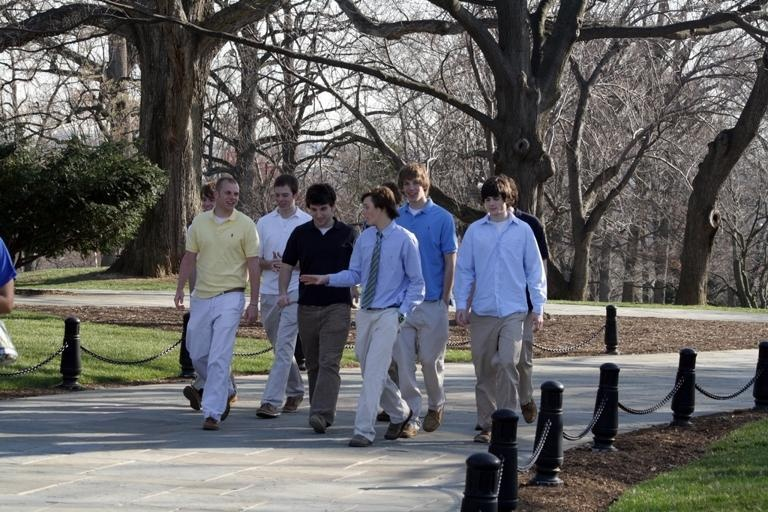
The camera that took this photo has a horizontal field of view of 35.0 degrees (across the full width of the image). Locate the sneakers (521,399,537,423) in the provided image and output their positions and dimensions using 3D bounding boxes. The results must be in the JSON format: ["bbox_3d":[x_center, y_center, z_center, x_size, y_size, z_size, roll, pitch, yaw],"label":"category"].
[{"bbox_3d":[2.752,2.918,23.002,0.229,0.553,0.192,-10,10,-39],"label":"sneakers"}]

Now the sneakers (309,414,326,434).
[{"bbox_3d":[-1.178,3.058,22.267,0.190,0.193,0.435,0,-40,19],"label":"sneakers"}]

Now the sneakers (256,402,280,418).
[{"bbox_3d":[-2.185,2.949,23.139,0.497,0.216,0.196,11,-14,-29],"label":"sneakers"}]
